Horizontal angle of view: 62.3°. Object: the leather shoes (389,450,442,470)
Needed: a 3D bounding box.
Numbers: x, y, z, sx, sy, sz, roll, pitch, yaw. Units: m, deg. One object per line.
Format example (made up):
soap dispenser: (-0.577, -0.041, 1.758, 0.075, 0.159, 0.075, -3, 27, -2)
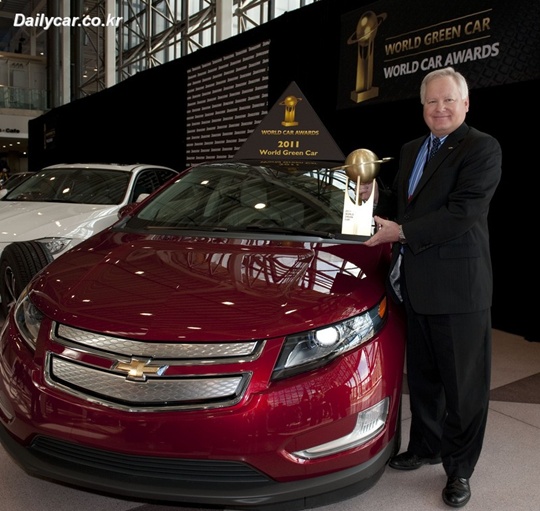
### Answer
leather shoes: (0.599, 0.799, 1.798, 0.241, 0.075, 0.084, 0, 4, -7)
